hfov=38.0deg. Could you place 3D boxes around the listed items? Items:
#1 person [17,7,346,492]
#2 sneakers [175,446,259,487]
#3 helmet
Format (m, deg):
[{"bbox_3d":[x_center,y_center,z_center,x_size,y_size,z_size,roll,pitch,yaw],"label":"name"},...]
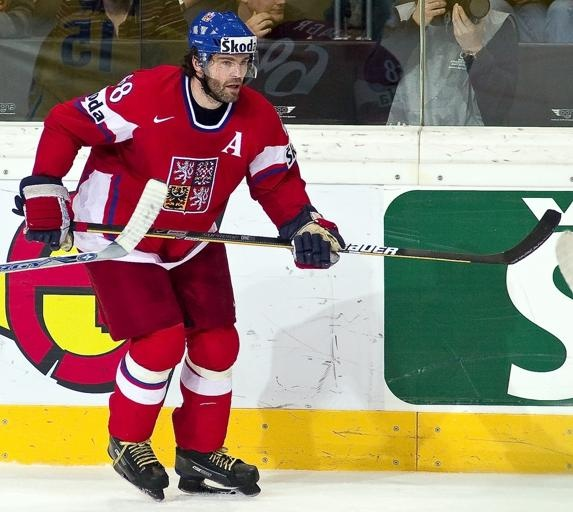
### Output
[{"bbox_3d":[-0.310,0.024,2.713,0.664,1.528,0.831,23,37,40],"label":"person"},{"bbox_3d":[-0.239,0.708,2.822,0.337,0.117,0.104,2,-9,25],"label":"sneakers"},{"bbox_3d":[-0.189,-0.674,2.618,0.186,0.165,0.232,-12,30,-31],"label":"helmet"}]
